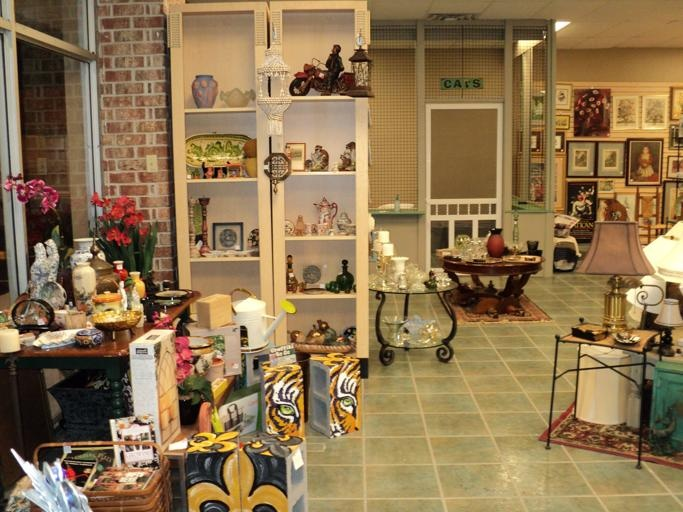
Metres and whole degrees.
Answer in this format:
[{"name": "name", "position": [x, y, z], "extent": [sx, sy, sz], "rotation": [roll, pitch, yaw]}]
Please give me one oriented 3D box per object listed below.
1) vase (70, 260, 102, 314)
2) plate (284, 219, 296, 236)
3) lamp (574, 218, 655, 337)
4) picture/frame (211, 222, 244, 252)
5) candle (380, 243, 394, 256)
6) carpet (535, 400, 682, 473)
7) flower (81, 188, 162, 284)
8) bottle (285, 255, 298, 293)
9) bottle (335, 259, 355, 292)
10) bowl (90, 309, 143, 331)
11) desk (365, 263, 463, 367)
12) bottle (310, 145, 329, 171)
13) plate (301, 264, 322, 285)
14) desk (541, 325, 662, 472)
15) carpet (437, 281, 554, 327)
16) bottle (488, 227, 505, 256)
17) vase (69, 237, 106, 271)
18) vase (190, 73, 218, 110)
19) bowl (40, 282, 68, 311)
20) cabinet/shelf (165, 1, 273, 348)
[{"name": "vase", "position": [-1.865, 0.238, 4.382], "extent": [0.180, 0.353, 0.179], "rotation": [3, 4, 41]}, {"name": "plate", "position": [-0.483, -0.264, 5.721], "extent": [0.154, 0.118, 0.034], "rotation": [6, 7, 6]}, {"name": "lamp", "position": [1.971, 0.155, 4.404], "extent": [0.481, 0.855, 0.513], "rotation": [5, 18, 26]}, {"name": "picture/frame", "position": [-1.061, -0.187, 5.802], "extent": [0.380, 0.306, 0.037], "rotation": [0, 3, 3]}, {"name": "candle", "position": [0.428, -0.065, 6.118], "extent": [0.150, 0.126, 0.138], "rotation": [4, 8, 21]}, {"name": "carpet", "position": [2.043, 1.327, 4.557], "extent": [0.932, 0.049, 0.614], "rotation": [6, 15, 31]}, {"name": "flower", "position": [-1.786, -0.123, 5.136], "extent": [0.526, 0.629, 0.409], "rotation": [3, 15, 19]}, {"name": "bottle", "position": [-0.456, 0.151, 5.681], "extent": [0.116, 0.336, 0.203], "rotation": [-4, 16, -3]}, {"name": "bottle", "position": [0.039, 0.182, 5.640], "extent": [0.171, 0.270, 0.173], "rotation": [-2, 16, 1]}, {"name": "bowl", "position": [-1.437, 0.408, 3.933], "extent": [0.199, 0.046, 0.174], "rotation": [2, 8, 9]}, {"name": "desk", "position": [0.708, 0.620, 6.316], "extent": [1.078, 0.860, 1.025], "rotation": [-1, -1, 30]}, {"name": "bottle", "position": [-0.196, -0.908, 5.650], "extent": [0.184, 0.228, 0.259], "rotation": [-3, 15, -2]}, {"name": "plate", "position": [-0.275, 0.178, 5.793], "extent": [0.250, 0.190, 0.051], "rotation": [-3, -1, 0]}, {"name": "desk", "position": [1.969, 1.030, 4.725], "extent": [1.008, 0.747, 0.932], "rotation": [12, -6, -28]}, {"name": "carpet", "position": [2.064, 0.631, 8.142], "extent": [1.175, 0.019, 1.501], "rotation": [0, 12, 3]}, {"name": "bottle", "position": [1.864, -0.158, 7.409], "extent": [0.224, 0.361, 0.295], "rotation": [1, 16, 12]}, {"name": "vase", "position": [-1.903, -0.010, 4.642], "extent": [0.247, 0.220, 0.249], "rotation": [-21, 2, -35]}, {"name": "vase", "position": [-1.241, -1.486, 5.554], "extent": [0.279, 0.265, 0.275], "rotation": [14, 20, 39]}, {"name": "bowl", "position": [-1.931, 0.259, 4.191], "extent": [0.213, 0.171, 0.060], "rotation": [-1, 35, 11]}, {"name": "cabinet/shelf", "position": [-1.064, -0.914, 5.592], "extent": [0.980, 2.650, 0.841], "rotation": [-4, 16, -5]}]
